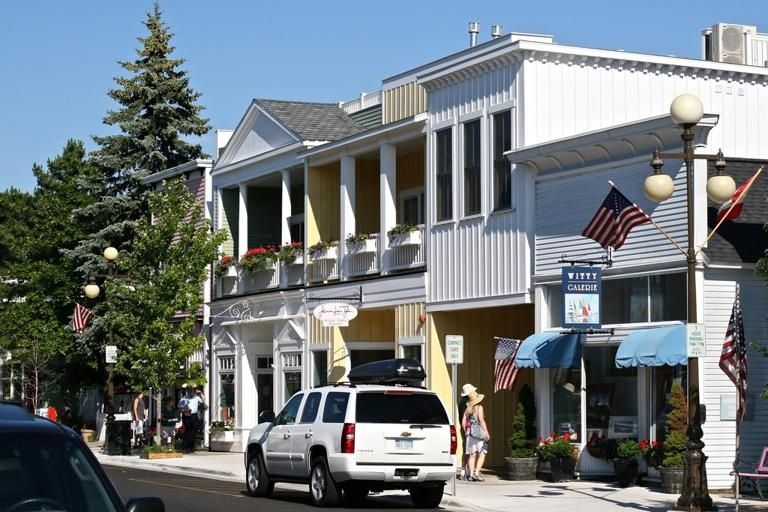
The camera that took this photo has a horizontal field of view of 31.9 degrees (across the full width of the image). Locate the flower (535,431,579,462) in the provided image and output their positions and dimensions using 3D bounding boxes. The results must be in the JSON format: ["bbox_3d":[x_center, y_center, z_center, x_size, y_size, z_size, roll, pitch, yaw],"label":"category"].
[{"bbox_3d":[4.833,5.280,37.030,0.768,0.592,0.818,-2,3,3],"label":"flower"}]

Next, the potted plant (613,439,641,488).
[{"bbox_3d":[6.507,5.517,35.801,0.676,1.277,0.723,-1,-12,9],"label":"potted plant"}]

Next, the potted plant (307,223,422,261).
[{"bbox_3d":[-0.504,-0.411,44.356,1.291,0.434,0.617,26,-49,-29],"label":"potted plant"}]

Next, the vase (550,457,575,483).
[{"bbox_3d":[4.920,5.831,36.959,0.571,0.853,0.711,0,-2,-4],"label":"vase"}]

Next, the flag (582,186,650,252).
[{"bbox_3d":[6.096,-1.079,35.251,0.597,1.558,1.629,10,-16,-39],"label":"flag"}]

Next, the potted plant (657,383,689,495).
[{"bbox_3d":[7.503,4.730,34.729,0.811,2.618,0.674,1,-4,11],"label":"potted plant"}]

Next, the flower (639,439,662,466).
[{"bbox_3d":[6.998,5.176,35.154,0.581,0.627,0.612,1,5,8],"label":"flower"}]

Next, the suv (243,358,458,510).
[{"bbox_3d":[-0.657,4.594,32.891,2.362,3.027,5.789,3,-4,-41],"label":"suv"}]

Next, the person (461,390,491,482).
[{"bbox_3d":[2.700,5.119,37.863,0.857,2.312,0.809,-4,-7,40],"label":"person"}]

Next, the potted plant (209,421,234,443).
[{"bbox_3d":[-5.873,6.522,49.635,0.729,0.556,0.696,1,-1,-28],"label":"potted plant"}]
